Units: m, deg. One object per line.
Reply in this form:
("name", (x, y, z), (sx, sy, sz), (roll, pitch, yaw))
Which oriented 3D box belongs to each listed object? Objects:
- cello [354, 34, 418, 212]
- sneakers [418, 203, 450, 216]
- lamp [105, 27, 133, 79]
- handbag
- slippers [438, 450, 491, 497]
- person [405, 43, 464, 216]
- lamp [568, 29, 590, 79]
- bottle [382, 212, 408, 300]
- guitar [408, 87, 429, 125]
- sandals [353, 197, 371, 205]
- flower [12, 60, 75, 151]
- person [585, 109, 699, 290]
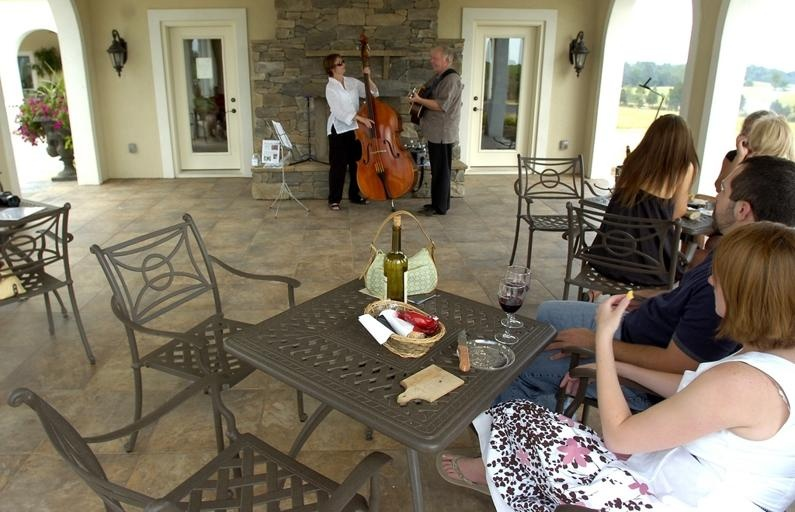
("cello", (-0.190, -1.537, 6.194), (0.619, 1.818, 0.740), (1, 19, -12))
("sneakers", (0.433, -0.571, 6.536), (0.398, 0.142, 0.141), (4, 15, 20))
("lamp", (-4.098, -2.979, 7.793), (0.264, 0.663, 0.334), (-5, 21, -9))
("handbag", (0.007, 0.071, 2.809), (0.289, 0.896, 0.322), (5, 16, 12))
("slippers", (0.356, 1.109, 2.704), (0.345, 0.057, 0.132), (11, 36, 24))
("person", (0.459, -1.401, 6.353), (0.787, 1.820, 0.612), (-2, 9, -22))
("lamp", (2.810, -3.141, 8.282), (0.306, 0.660, 0.390), (6, 22, 17))
("bottle", (-0.006, 0.010, 2.655), (0.134, 0.407, 0.147), (2, 16, 0))
("guitar", (0.243, -1.707, 6.238), (0.140, 0.253, 0.489), (5, -20, 10))
("sandals", (-0.492, -0.726, 7.049), (0.180, 0.064, 0.088), (2, 10, 20))
("flower", (-5.689, -2.238, 8.441), (0.714, 1.054, 1.271), (-18, 26, -39))
("person", (1.590, -0.328, 3.524), (0.511, 1.301, 0.438), (-4, 9, -32))
